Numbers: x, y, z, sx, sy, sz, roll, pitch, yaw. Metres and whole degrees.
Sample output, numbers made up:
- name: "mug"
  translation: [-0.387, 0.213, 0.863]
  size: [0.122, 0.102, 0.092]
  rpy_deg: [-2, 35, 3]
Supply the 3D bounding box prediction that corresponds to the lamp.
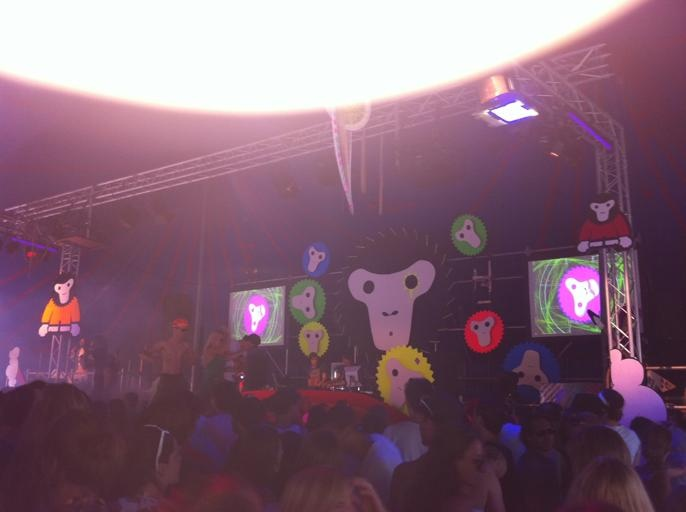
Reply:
- name: "lamp"
  translation: [2.199, -2.042, 6.869]
  size: [0.664, 0.739, 0.678]
  rpy_deg: [-19, -7, 35]
